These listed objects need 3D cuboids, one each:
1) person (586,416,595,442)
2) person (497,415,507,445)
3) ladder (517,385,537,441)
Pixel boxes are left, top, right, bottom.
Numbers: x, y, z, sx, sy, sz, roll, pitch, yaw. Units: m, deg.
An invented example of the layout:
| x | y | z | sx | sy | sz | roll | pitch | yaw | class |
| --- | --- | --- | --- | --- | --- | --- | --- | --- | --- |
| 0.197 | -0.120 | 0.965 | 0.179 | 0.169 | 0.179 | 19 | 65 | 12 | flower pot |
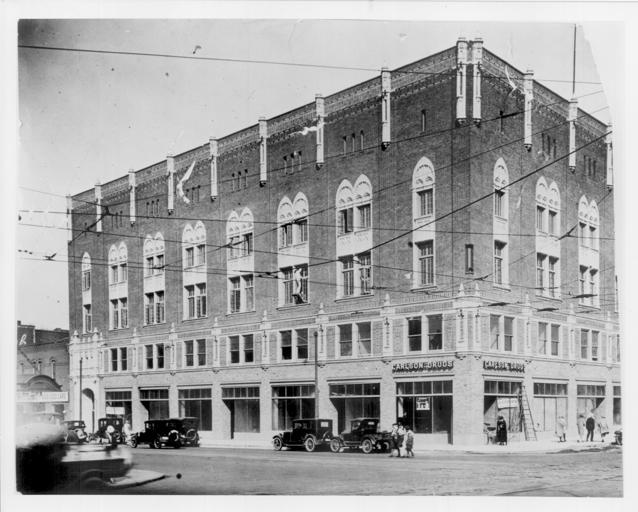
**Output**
| x | y | z | sx | sy | sz | roll | pitch | yaw | class |
| --- | --- | --- | --- | --- | --- | --- | --- | --- | --- |
| 14.312 | 9.112 | 78.935 | 0.449 | 1.301 | 1.319 | -3 | -15 | 10 | person |
| 9.287 | 8.813 | 76.314 | 0.483 | 1.582 | 0.664 | -3 | -14 | 7 | person |
| 10.835 | 8.085 | 77.901 | 0.749 | 3.150 | 1.240 | -8 | -16 | 28 | ladder |
